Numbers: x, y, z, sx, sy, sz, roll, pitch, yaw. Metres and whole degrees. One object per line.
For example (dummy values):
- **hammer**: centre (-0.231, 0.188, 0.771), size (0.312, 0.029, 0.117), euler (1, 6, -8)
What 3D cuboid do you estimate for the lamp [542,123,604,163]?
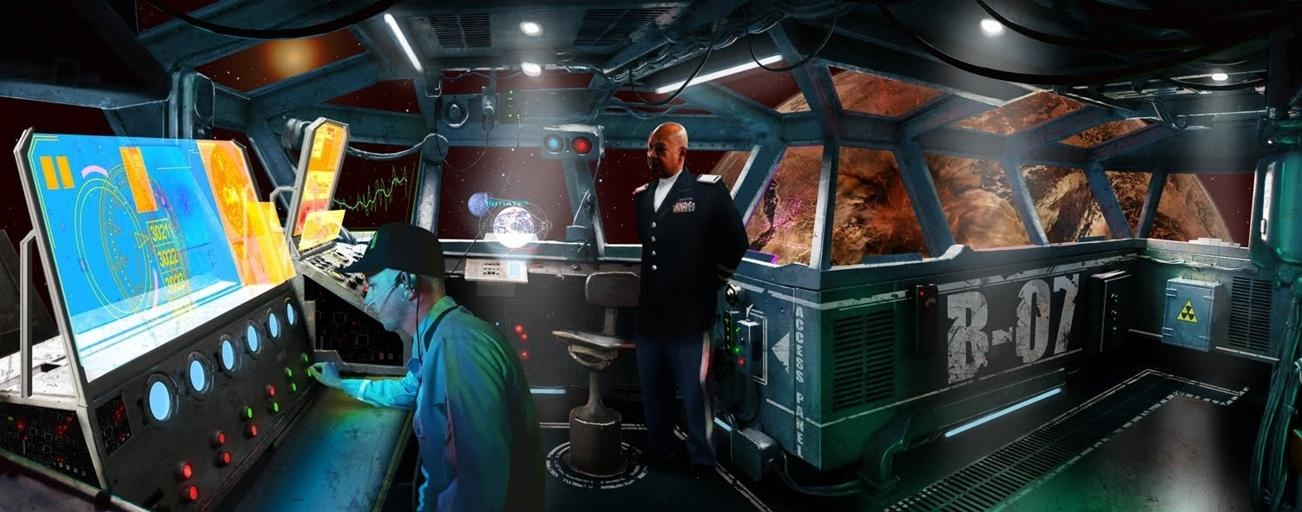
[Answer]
- **lamp**: centre (-1.072, -1.560, 8.716), size (0.917, 0.340, 0.541), euler (1, 7, 4)

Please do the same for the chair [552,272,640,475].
- **chair**: centre (-0.898, 1.636, 8.661), size (1.607, 2.595, 1.288), euler (-9, -13, 7)

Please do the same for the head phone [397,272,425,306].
- **head phone**: centre (-2.313, 0.325, 6.100), size (0.250, 0.250, 0.284), euler (8, 6, 13)
